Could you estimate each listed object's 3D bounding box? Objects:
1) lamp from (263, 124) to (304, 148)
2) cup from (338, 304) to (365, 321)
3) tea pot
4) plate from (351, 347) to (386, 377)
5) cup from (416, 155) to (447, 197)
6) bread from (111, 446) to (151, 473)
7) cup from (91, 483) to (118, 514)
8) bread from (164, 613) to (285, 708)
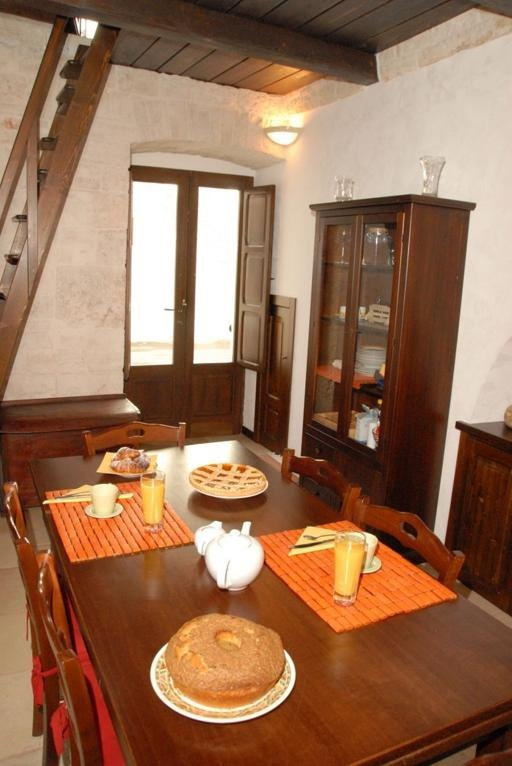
[{"bbox_3d":[0.183,-1.860,4.017,0.254,0.090,0.325,1,8,-14],"label":"lamp"},{"bbox_3d":[0.508,-0.374,2.823,0.045,0.069,0.154,-3,9,-17],"label":"cup"},{"bbox_3d":[-0.058,0.355,1.144,0.092,0.081,0.163,4,13,8],"label":"tea pot"},{"bbox_3d":[0.571,-0.113,2.703,0.126,0.120,0.127,-11,15,-43],"label":"plate"},{"bbox_3d":[0.817,-0.957,2.514,0.102,0.188,0.218,5,8,16],"label":"cup"},{"bbox_3d":[-0.411,0.253,1.753,0.095,0.046,0.114,2,7,-12],"label":"bread"},{"bbox_3d":[-0.408,0.311,1.431,0.066,0.074,0.073,1,6,-2],"label":"cup"},{"bbox_3d":[-0.050,0.413,0.804,0.177,0.067,0.189,4,4,-14],"label":"bread"}]
